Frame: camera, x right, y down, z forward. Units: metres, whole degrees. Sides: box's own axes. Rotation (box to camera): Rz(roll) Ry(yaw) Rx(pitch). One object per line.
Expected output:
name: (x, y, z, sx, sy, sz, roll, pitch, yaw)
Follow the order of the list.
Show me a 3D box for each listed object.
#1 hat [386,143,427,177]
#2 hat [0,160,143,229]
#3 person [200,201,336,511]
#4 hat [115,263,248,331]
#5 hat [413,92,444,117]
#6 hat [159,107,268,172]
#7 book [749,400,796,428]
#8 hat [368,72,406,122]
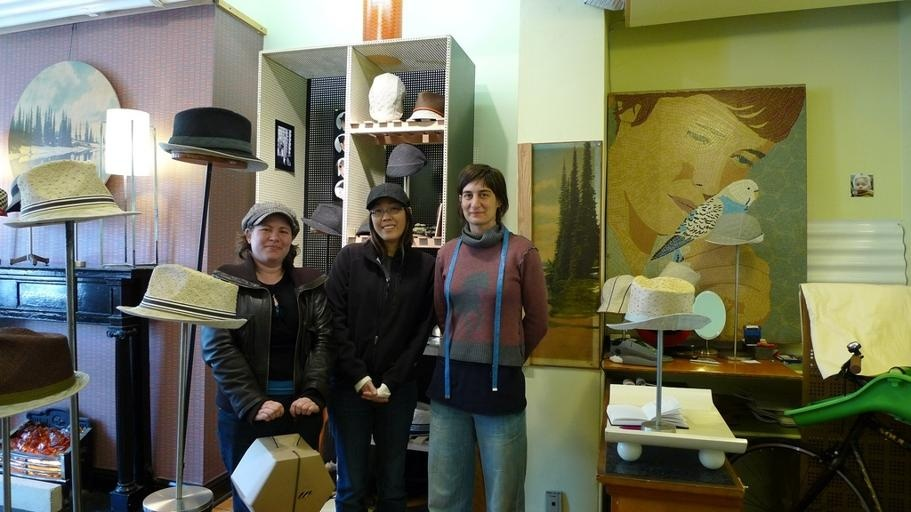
hat: (-0.429, -0.809, 5.530, 0.327, 0.284, 0.156, 3, 2, 31)
hat: (-2.586, -0.388, 4.375, 0.637, 0.221, 0.522, -9, 4, 15)
person: (-1.332, 0.563, 4.670, 0.872, 1.889, 0.466, 1, 2, -14)
hat: (-1.838, 0.291, 4.521, 0.634, 0.213, 0.532, 10, -1, -4)
hat: (-0.226, -1.255, 5.477, 0.207, 0.145, 0.242, 9, -18, 40)
hat: (-1.939, -0.901, 5.219, 0.643, 0.296, 0.523, -5, 15, -43)
book: (2.516, 1.261, 5.291, 0.277, 0.073, 0.281, 4, 4, 30)
hat: (-0.603, -1.327, 5.615, 0.311, 0.425, 0.208, 1, 2, -1)
